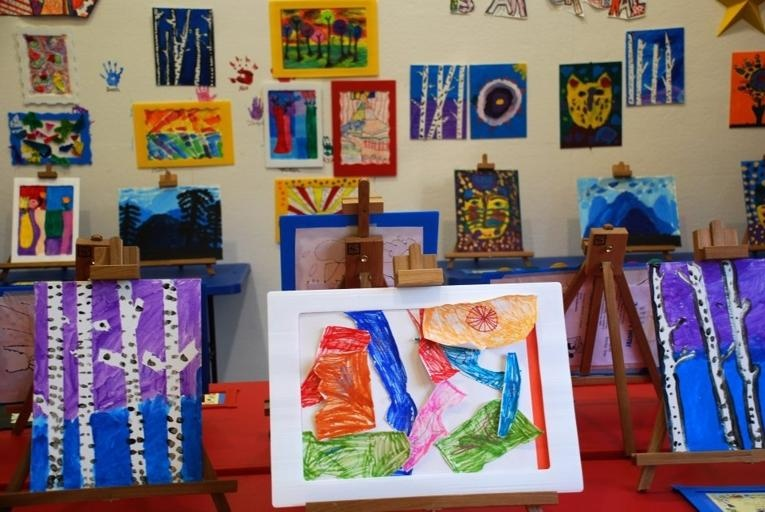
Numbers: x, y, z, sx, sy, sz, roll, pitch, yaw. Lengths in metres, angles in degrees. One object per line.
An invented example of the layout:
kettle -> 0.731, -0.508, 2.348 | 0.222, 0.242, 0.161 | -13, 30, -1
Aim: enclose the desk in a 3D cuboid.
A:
desk -> -1.233, 0.257, 4.047 | 0.835, 0.529, 0.853 | 1, 5, -1
